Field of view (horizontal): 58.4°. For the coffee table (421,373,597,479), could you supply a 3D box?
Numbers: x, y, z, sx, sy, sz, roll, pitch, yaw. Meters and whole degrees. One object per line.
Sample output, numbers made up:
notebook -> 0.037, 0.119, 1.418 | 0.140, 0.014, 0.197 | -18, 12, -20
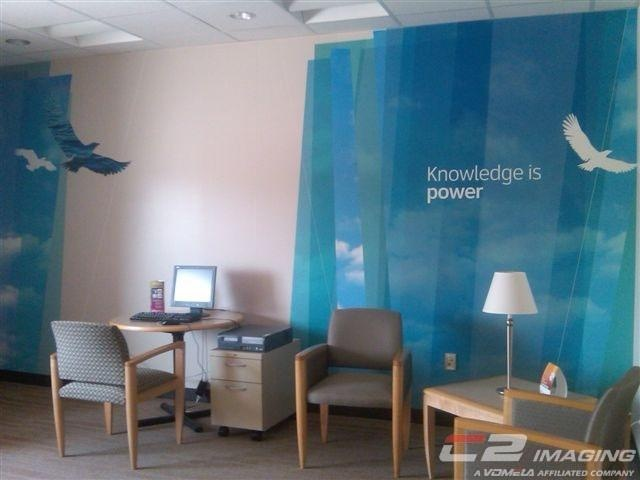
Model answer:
coffee table -> 1.404, 1.169, 4.326 | 1.004, 0.688, 0.980 | 1, 1, -34

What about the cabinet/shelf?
cabinet/shelf -> -0.571, 1.356, 5.216 | 0.595, 0.665, 0.808 | -2, -6, 20

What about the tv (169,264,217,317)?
tv -> -1.186, 0.458, 5.520 | 0.475, 0.429, 0.178 | -1, -4, 23

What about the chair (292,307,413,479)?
chair -> 0.291, 1.164, 4.744 | 0.881, 1.112, 1.013 | 0, 9, 9

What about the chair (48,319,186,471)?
chair -> -1.687, 1.216, 4.860 | 1.090, 1.117, 1.078 | 0, 0, -32

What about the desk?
desk -> -1.210, 1.154, 5.234 | 1.117, 0.766, 1.086 | 0, 1, 25
